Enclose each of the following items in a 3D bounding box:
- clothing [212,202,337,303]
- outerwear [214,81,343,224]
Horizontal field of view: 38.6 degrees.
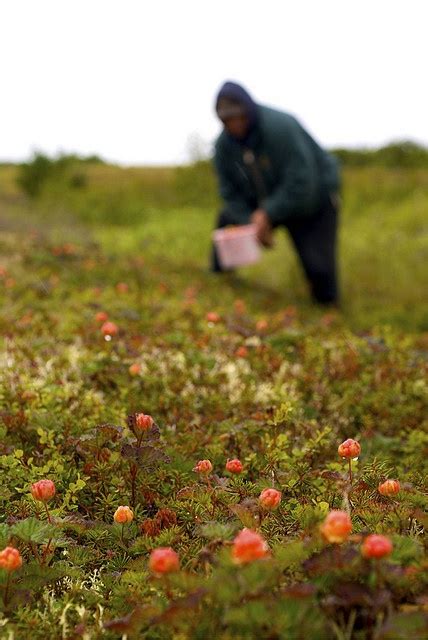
[{"bbox_3d":[0.384,-0.409,3.593,0.596,0.238,0.766,20,-6,17],"label":"clothing"},{"bbox_3d":[0.355,-0.900,3.555,0.795,0.663,1.216,-2,14,15],"label":"outerwear"}]
